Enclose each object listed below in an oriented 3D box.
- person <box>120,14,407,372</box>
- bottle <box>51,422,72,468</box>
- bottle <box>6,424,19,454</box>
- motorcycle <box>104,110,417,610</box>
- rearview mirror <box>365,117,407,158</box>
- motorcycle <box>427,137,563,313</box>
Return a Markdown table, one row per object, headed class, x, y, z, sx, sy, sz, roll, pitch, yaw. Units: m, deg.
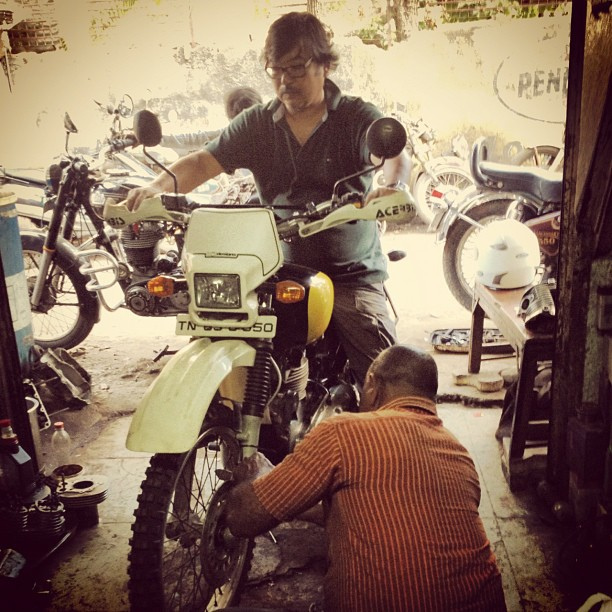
| class | x | y | z | sx | sy | sz | roll | pitch | yaw |
| --- | --- | --- | --- | --- | --- | --- | --- | --- | --- |
| person | -0.026 | -0.352 | 3.032 | 1.494 | 2.315 | 1.077 | -2 | 3 | 22 |
| bottle | -1.598 | 0.914 | 3.606 | 0.142 | 0.343 | 0.148 | 16 | 25 | -8 |
| bottle | -1.325 | 0.612 | 2.528 | 0.041 | 0.137 | 0.074 | -1 | 11 | -12 |
| motorcycle | -0.268 | 0.184 | 2.856 | 1.116 | 1.796 | 2.365 | 2 | 8 | 22 |
| rearview mirror | 0.293 | -0.610 | 2.011 | 0.133 | 0.147 | 0.108 | 3 | 11 | 10 |
| motorcycle | 1.865 | -0.868 | 5.548 | 1.613 | 1.144 | 1.068 | 4 | 13 | 6 |
